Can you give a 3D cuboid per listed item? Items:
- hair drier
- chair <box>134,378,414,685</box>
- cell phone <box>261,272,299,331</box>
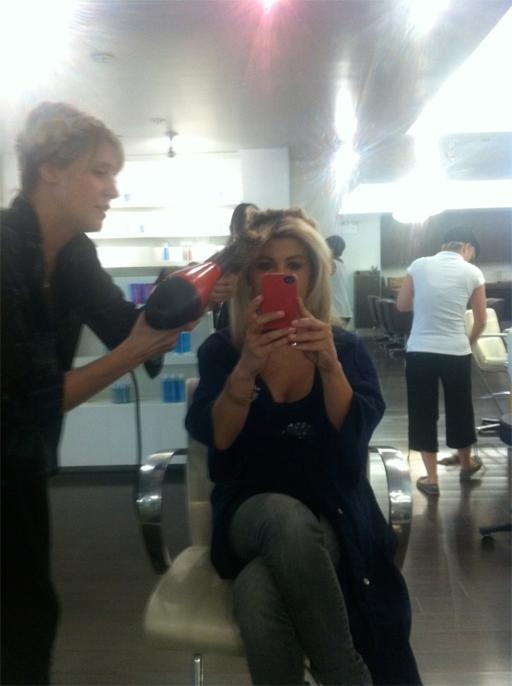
[{"bbox_3d":[-0.100,-0.069,0.986,0.103,0.156,0.111,-1,2,10],"label":"hair drier"},{"bbox_3d":[0.007,0.243,1.161,0.410,0.543,0.355,-2,4,2],"label":"chair"},{"bbox_3d":[0.038,-0.066,0.987,0.084,0.132,0.014,0,2,-3],"label":"cell phone"}]
